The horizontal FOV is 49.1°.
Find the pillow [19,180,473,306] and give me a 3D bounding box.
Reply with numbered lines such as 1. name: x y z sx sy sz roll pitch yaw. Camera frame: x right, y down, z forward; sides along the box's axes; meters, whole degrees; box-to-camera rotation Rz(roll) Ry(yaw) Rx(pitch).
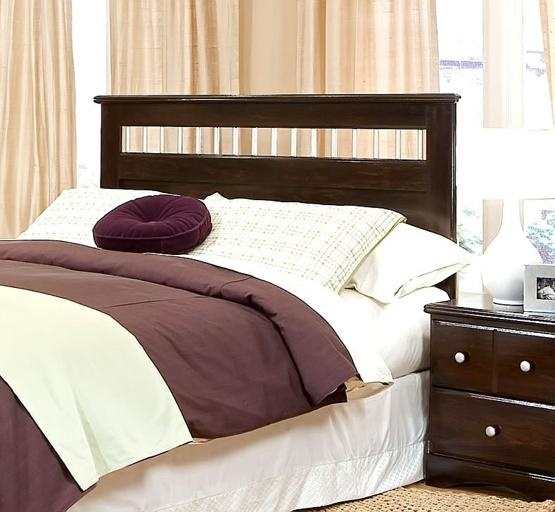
1. pillow: -0.119 -0.052 2.268 1.540 0.381 0.623 3 8 23
